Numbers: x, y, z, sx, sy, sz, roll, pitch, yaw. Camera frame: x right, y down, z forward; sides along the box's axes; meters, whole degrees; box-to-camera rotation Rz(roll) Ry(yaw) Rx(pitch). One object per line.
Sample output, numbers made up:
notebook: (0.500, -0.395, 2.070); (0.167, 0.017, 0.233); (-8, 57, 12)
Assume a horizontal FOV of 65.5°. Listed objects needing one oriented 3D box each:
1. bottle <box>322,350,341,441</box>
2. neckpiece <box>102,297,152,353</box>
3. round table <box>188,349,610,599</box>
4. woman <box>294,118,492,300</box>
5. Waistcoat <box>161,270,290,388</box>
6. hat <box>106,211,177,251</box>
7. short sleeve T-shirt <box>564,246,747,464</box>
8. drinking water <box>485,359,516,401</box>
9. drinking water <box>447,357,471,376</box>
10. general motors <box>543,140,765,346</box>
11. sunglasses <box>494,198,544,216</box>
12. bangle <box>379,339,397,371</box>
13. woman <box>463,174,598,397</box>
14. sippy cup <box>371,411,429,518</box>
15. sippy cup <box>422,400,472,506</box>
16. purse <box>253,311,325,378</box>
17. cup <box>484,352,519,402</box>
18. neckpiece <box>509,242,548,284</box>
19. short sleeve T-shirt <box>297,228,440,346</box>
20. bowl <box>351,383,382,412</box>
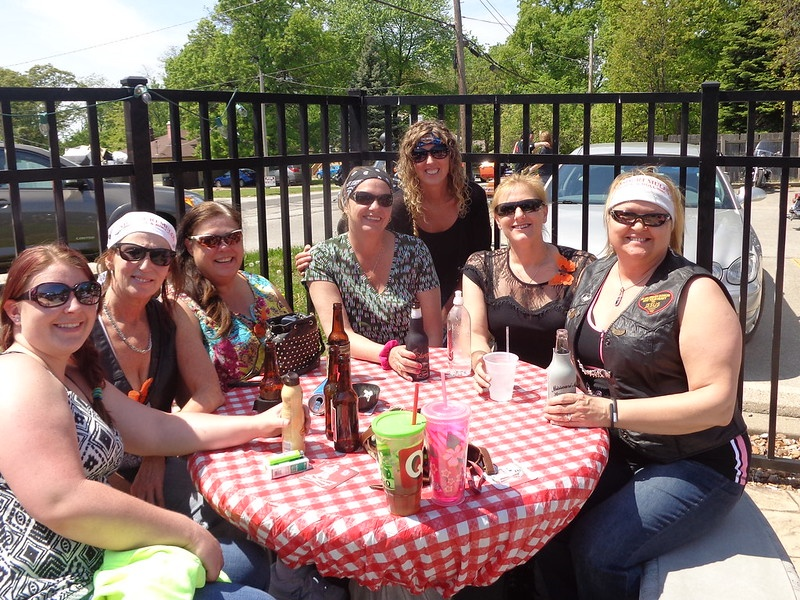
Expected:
bottle: (-0.260, 0.391, 2.608); (0.081, 0.388, 0.098); (-3, 1, 11)
neckpiece: (-1.256, 0.127, 2.853); (0.042, 0.251, 0.172); (-20, 9, 31)
round table: (-0.096, 0.627, 2.201); (1.078, 0.280, 1.051); (-1, 16, 0)
woman: (0.296, -0.516, 4.383); (0.844, 1.485, 1.053); (-2, 12, 21)
Waistcoat: (-0.894, 0.164, 3.096); (0.216, 0.374, 0.408); (-33, 11, 33)
hat: (-1.192, -0.340, 2.851); (0.230, 0.113, 0.193); (9, 2, 39)
short sleeve T-shirt: (1.108, 0.269, 2.737); (0.557, 0.971, 0.697); (-20, 21, -24)
drinking water: (0.438, 0.342, 2.801); (0.166, 0.194, 0.167); (-3, 4, -8)
drinking water: (0.306, 0.333, 3.112); (0.084, 0.068, 0.086); (0, -1, 2)
general motors: (2.800, -0.790, 6.710); (1.633, 1.199, 3.461); (2, 9, 18)
sunglasses: (0.687, -0.531, 3.582); (0.274, 0.099, 0.110); (0, 16, 10)
bangle: (-0.063, 0.278, 3.124); (0.102, 0.132, 0.043); (-1, -2, 23)
woman: (0.762, -0.031, 3.670); (0.739, 1.294, 0.716); (-1, 11, 15)
sippy cup: (0.007, 0.522, 2.031); (0.181, 0.328, 0.155); (-11, 18, -28)
sippy cup: (0.159, 0.501, 2.085); (0.149, 0.334, 0.159); (-3, 15, 1)
purse: (-0.540, 0.230, 3.041); (0.198, 0.313, 0.300); (15, 20, 36)
cup: (0.441, 0.334, 2.781); (0.170, 0.199, 0.192); (-2, 6, -4)
neckpiece: (0.762, -0.221, 3.667); (0.250, 0.211, 0.174); (-7, 19, -3)
short sleeve T-shirt: (-0.152, -0.088, 3.855); (0.966, 0.987, 0.542); (-4, 10, -20)
bowl: (-0.138, 0.423, 2.684); (0.100, 0.050, 0.104); (1, 21, 0)
